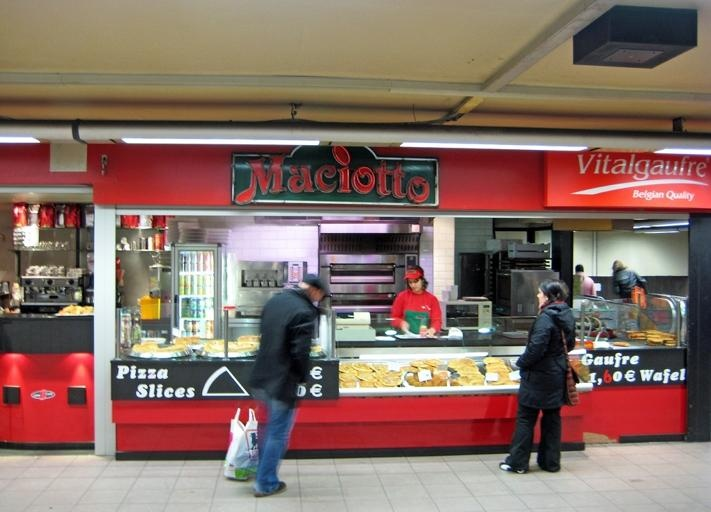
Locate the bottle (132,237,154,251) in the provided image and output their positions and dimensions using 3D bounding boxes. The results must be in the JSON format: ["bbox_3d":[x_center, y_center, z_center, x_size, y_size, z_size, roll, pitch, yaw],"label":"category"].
[{"bbox_3d":[-3.705,-0.205,12.002,0.349,0.228,0.074,4,-6,-20],"label":"bottle"}]

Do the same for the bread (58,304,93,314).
[{"bbox_3d":[-3.683,0.727,9.059,0.402,0.108,0.899,3,-4,-23],"label":"bread"}]

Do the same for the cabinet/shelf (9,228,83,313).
[{"bbox_3d":[-4.927,0.225,11.202,1.124,1.331,0.908,0,5,-10],"label":"cabinet/shelf"}]

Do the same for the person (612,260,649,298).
[{"bbox_3d":[4.497,0.389,11.361,0.471,0.630,0.588,0,-5,22],"label":"person"}]

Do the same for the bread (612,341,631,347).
[{"bbox_3d":[3.366,1.117,8.722,0.219,0.064,0.170,1,-4,6],"label":"bread"}]

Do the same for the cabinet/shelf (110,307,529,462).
[{"bbox_3d":[-0.567,2.083,8.547,4.902,0.896,1.615,5,-32,-23],"label":"cabinet/shelf"}]

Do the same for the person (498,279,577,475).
[{"bbox_3d":[2.062,1.353,7.697,0.695,2.141,0.474,3,-6,-1],"label":"person"}]

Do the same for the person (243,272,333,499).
[{"bbox_3d":[-0.740,1.347,7.176,0.662,2.310,0.354,0,-6,20],"label":"person"}]

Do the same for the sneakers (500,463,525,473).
[{"bbox_3d":[1.740,2.377,7.692,0.263,0.088,0.097,-3,-4,39],"label":"sneakers"}]
